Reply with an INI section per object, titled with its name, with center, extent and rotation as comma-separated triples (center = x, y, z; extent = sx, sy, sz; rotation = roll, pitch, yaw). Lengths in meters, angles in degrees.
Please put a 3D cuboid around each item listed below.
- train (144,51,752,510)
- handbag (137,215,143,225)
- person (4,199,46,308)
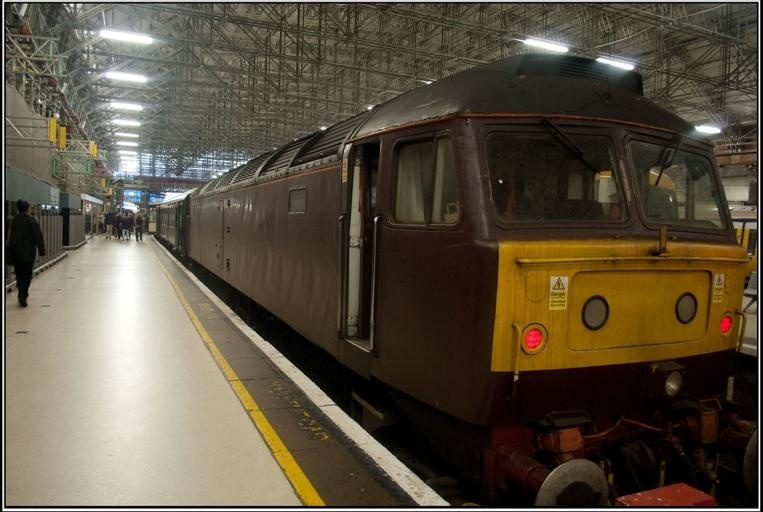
[train]
center = 1.039, -0.031, 5.943
extent = 5.438, 4.079, 2.464
rotation = 10, 13, 41
[handbag]
center = -14.876, -2.204, 33.314
extent = 0.279, 0.542, 0.295
rotation = -5, 12, -33
[person]
center = -6.955, -0.067, 10.626
extent = 0.607, 1.991, 1.428
rotation = -5, 12, -34
